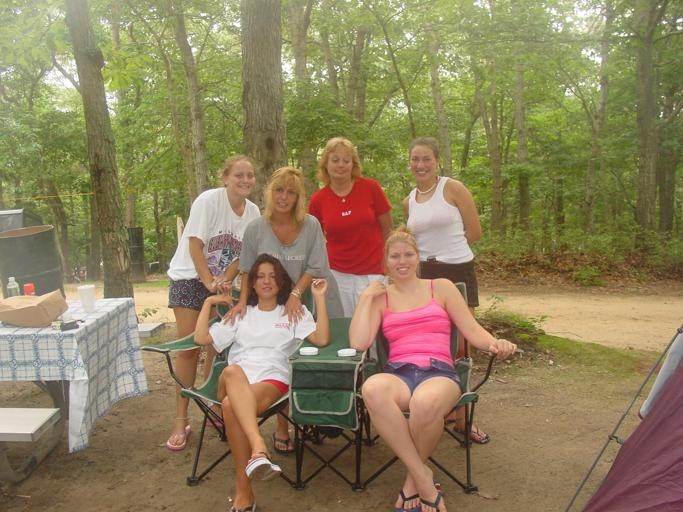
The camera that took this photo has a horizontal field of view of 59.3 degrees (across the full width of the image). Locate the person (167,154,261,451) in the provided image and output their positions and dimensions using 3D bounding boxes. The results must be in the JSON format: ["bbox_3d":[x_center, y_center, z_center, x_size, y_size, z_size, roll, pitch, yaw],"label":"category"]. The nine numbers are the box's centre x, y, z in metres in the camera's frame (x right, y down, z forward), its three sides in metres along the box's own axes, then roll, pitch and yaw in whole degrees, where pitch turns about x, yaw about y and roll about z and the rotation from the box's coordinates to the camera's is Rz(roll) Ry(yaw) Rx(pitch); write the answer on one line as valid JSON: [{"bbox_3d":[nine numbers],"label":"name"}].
[{"bbox_3d":[-1.203,0.438,5.430,0.834,2.557,0.933,5,1,20],"label":"person"}]

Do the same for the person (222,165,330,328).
[{"bbox_3d":[-0.571,-0.103,5.090,0.954,1.212,0.804,-2,18,-19],"label":"person"}]

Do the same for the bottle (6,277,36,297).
[{"bbox_3d":[-3.362,0.324,6.287,0.235,0.198,0.085,-2,-2,30],"label":"bottle"}]

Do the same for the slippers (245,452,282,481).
[{"bbox_3d":[-0.543,1.538,4.370,0.137,0.130,0.299,-32,-41,15],"label":"slippers"}]

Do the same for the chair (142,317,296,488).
[{"bbox_3d":[-0.974,1.123,5.214,1.435,1.389,1.140,1,-7,22],"label":"chair"}]

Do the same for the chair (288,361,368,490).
[{"bbox_3d":[-0.131,1.316,4.809,0.584,1.060,0.734,-3,5,-5],"label":"chair"}]
